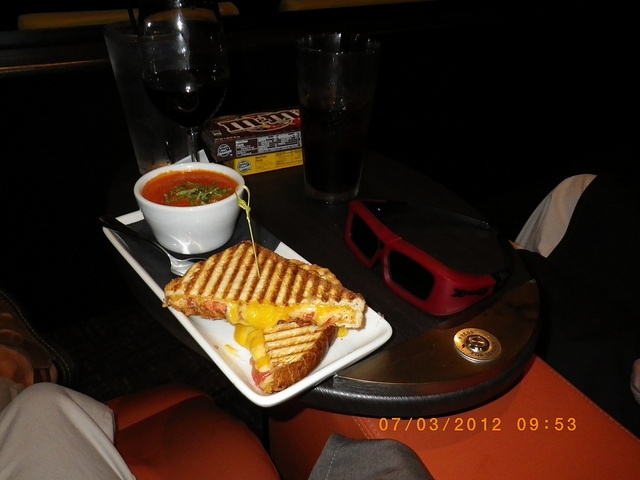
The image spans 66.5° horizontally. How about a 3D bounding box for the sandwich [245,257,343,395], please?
[{"bbox_3d":[-0.067,0.260,1.345,0.205,0.056,0.199,-19,49,-22],"label":"sandwich"}]
